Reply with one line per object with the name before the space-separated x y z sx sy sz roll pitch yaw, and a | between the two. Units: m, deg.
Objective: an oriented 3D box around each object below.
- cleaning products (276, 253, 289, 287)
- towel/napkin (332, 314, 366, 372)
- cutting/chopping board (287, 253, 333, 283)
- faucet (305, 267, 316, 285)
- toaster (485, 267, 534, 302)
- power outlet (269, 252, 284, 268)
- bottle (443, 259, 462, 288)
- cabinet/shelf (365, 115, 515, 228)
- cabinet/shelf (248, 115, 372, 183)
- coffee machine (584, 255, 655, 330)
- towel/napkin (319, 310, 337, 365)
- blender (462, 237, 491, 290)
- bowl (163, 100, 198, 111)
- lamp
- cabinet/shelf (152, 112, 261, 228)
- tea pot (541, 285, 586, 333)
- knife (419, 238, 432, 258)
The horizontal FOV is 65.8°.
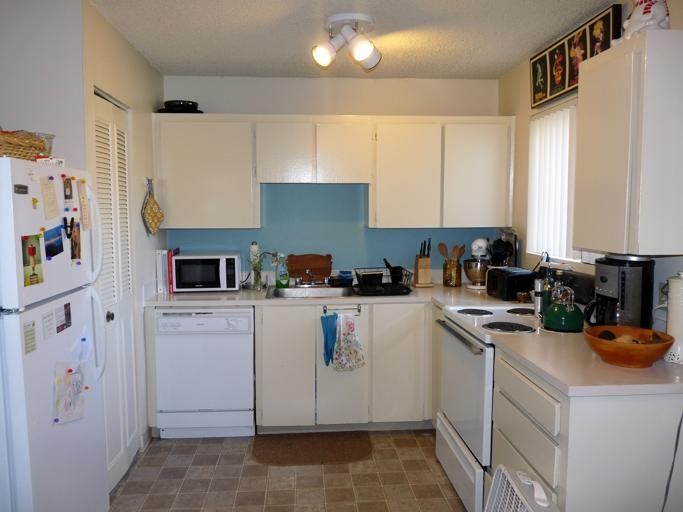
cleaning products | -0.486 0.110 4.316 0.105 0.219 0.341 -1 14 -6
towel/napkin | 0.046 0.625 3.867 0.211 0.380 0.132 0 14 0
cutting/chopping board | -0.266 0.088 4.418 0.303 0.235 0.238 0 -2 -6
faucet | -0.261 0.165 4.381 0.072 0.130 0.041 -6 -7 -15
toaster | 1.238 0.197 3.932 0.252 0.218 0.335 -5 7 -21
power outlet | -0.538 0.028 4.381 0.114 0.047 0.117 -2 13 -22
bottle | 0.916 0.144 4.370 0.185 0.287 0.191 1 3 0
cabinet/shelf | 0.815 -0.630 4.393 1.086 0.903 0.403 1 -4 7
cabinet/shelf | -0.205 -0.813 4.117 0.908 0.441 0.238 1 14 5
coffee machine | 1.531 0.200 2.897 0.329 0.425 0.161 9 16 31
towel/napkin | -0.093 0.617 3.885 0.128 0.384 0.134 -1 14 -3
blender | 1.120 0.048 4.329 0.239 0.422 0.250 -4 8 -21
bowl | -1.270 -1.199 4.177 0.262 0.087 0.248 0 14 0
lamp | 0.035 -1.397 3.456 0.445 0.311 0.355 3 14 11
cabinet/shelf | -1.076 -0.748 4.332 0.802 0.861 0.559 0 22 -12
tea pot | 1.260 0.287 3.087 0.240 0.285 0.250 -1 4 0
knife | 0.707 -0.065 4.469 0.098 0.151 0.280 3 14 11
